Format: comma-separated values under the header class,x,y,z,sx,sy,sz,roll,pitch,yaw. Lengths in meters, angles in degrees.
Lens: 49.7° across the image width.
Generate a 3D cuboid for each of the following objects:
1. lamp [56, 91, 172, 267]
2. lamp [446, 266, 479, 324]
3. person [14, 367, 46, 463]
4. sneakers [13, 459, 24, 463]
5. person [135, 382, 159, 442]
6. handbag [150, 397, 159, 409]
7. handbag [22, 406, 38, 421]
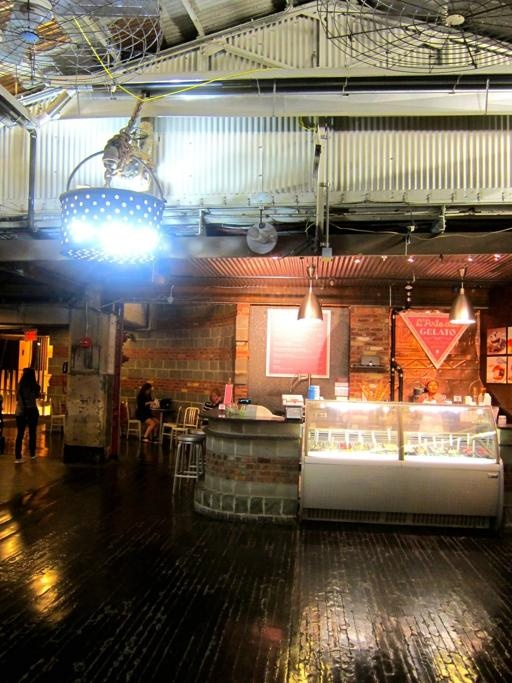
class,x,y,z,sx,sy,sz,roll,pitch,yaw
lamp,-0.875,-1.072,3.499,0.667,1.090,0.669,1,-6,21
lamp,2.445,-0.539,6.563,0.249,0.712,1.495,0,-1,20
person,-3.612,1.130,8.755,0.322,1.425,1.329,2,-2,-22
sneakers,-3.517,1.767,8.247,0.064,0.066,0.162,2,3,37
person,-2.169,1.403,11.107,0.457,1.136,1.129,2,-2,-12
handbag,-2.052,1.257,11.278,0.116,0.192,0.189,3,0,3
handbag,-3.436,1.122,8.478,0.215,0.219,0.218,4,6,11
